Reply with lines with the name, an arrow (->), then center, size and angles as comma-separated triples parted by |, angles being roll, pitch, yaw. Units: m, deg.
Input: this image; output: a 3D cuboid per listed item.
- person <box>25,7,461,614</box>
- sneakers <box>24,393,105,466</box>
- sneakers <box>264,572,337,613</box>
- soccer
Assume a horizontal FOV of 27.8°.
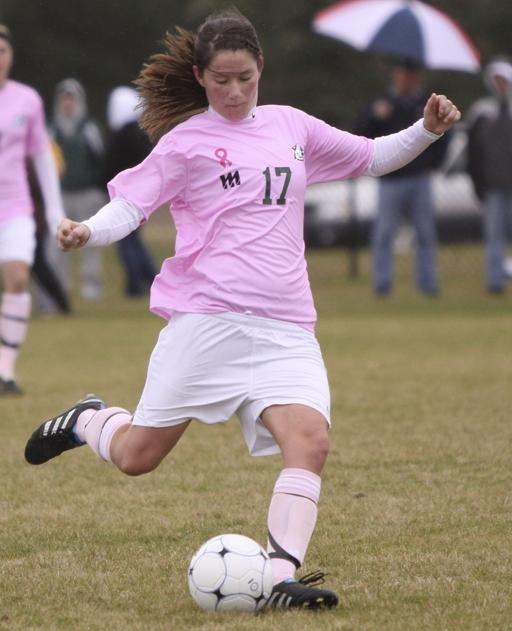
person -> -0.096, -0.111, 3.012 | 1.250, 1.475, 0.910 | 0, 9, 17
sneakers -> -0.673, 0.396, 3.577 | 0.386, 0.131, 0.161 | -28, -8, 17
sneakers -> 0.124, 0.700, 2.638 | 0.210, 0.092, 0.069 | -14, -32, 31
soccer -> -0.048, 0.668, 2.684 | 0.197, 0.180, 0.180 | 25, 40, -18
